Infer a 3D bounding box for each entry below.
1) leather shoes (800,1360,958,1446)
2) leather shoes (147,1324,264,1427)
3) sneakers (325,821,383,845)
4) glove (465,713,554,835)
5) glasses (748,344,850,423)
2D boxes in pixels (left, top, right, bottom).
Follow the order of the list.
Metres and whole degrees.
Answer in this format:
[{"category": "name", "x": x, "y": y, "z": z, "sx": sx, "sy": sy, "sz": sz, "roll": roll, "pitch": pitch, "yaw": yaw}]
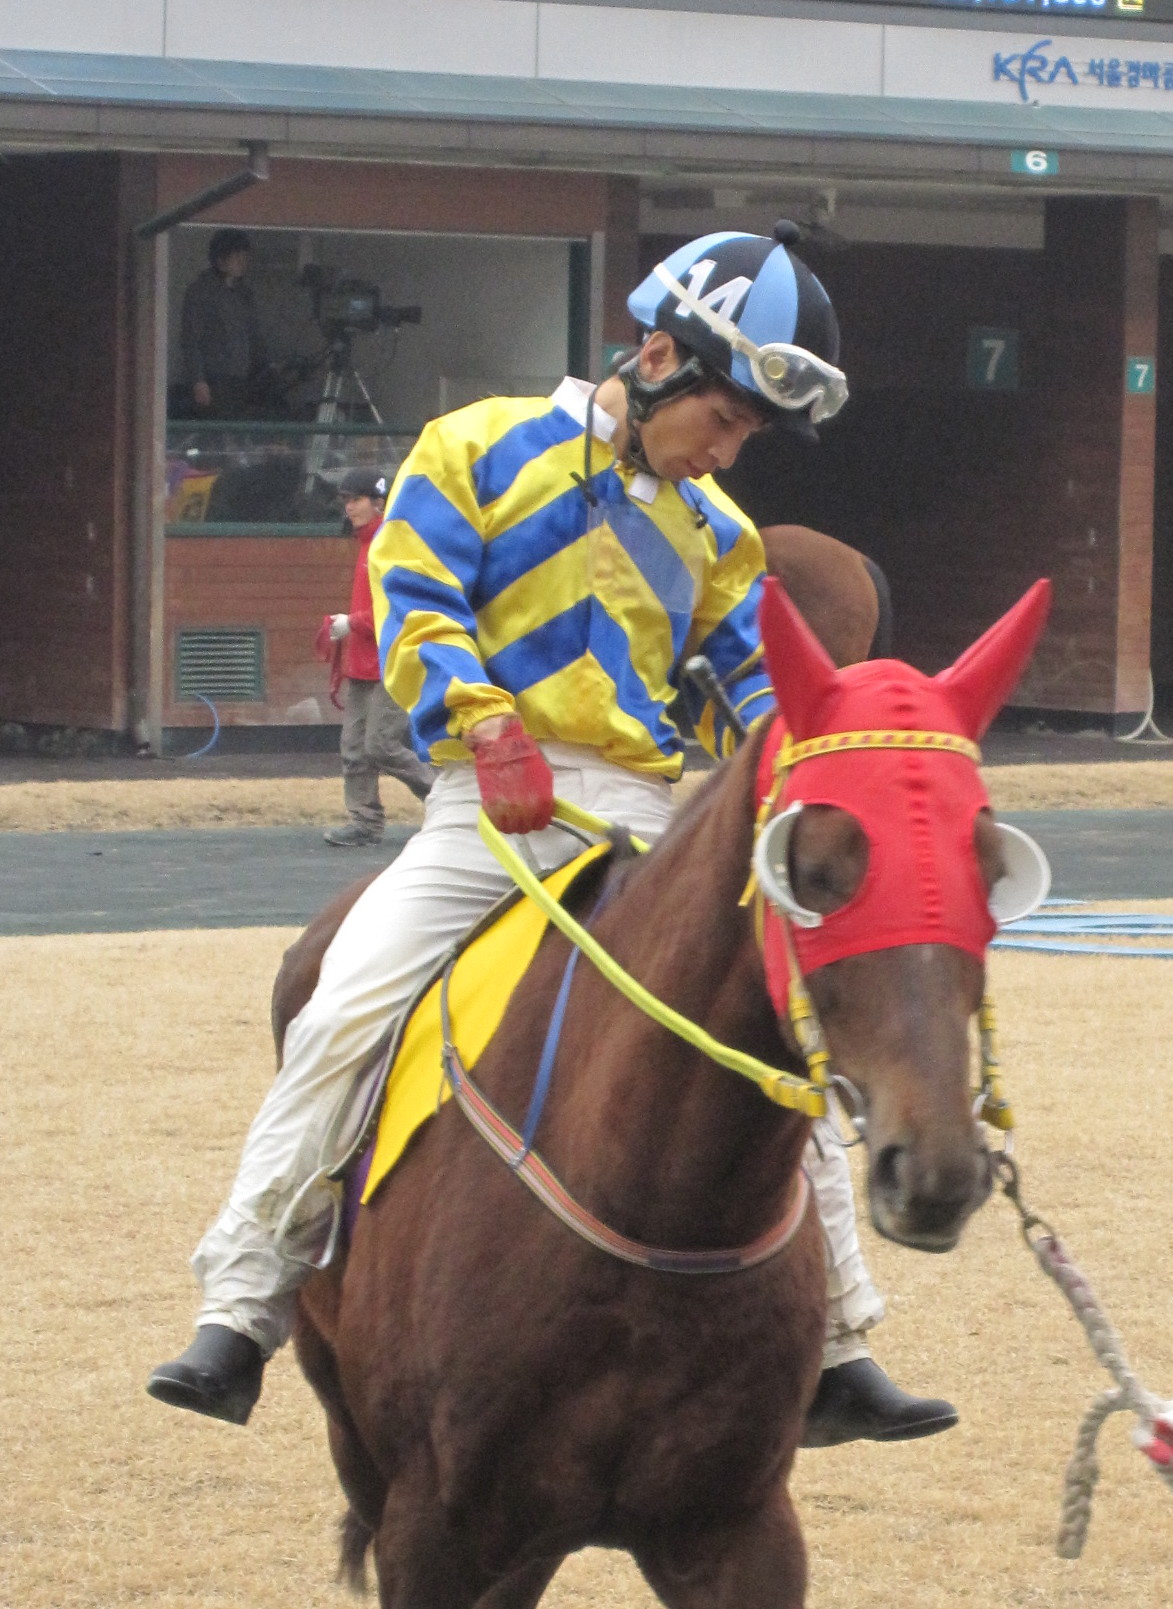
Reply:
[{"category": "leather shoes", "x": 0.473, "y": 0.996, "z": 5.595, "sx": 0.334, "sy": 0.132, "sz": 0.113, "roll": -11, "pitch": -10, "yaw": 30}, {"category": "leather shoes", "x": -0.639, "y": 0.923, "z": 5.505, "sx": 0.123, "sy": 0.149, "sz": 0.241, "roll": -3, "pitch": -19, "yaw": 25}, {"category": "sneakers", "x": -0.928, "y": 0.117, "z": 13.272, "sx": 0.252, "sy": 0.105, "sz": 0.085, "roll": 3, "pitch": 9, "yaw": 1}, {"category": "glove", "x": -0.093, "y": -0.028, "z": 5.396, "sx": 0.092, "sy": 0.124, "sz": 0.219, "roll": -9, "pitch": 17, "yaw": -30}, {"category": "glasses", "x": 0.356, "y": -0.679, "z": 5.442, "sx": 0.148, "sy": 0.078, "sz": 0.117, "roll": 38, "pitch": 2, "yaw": 25}]
